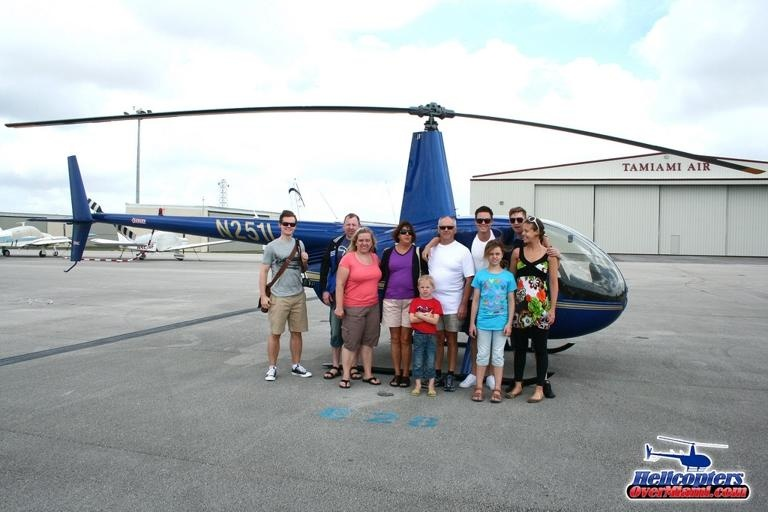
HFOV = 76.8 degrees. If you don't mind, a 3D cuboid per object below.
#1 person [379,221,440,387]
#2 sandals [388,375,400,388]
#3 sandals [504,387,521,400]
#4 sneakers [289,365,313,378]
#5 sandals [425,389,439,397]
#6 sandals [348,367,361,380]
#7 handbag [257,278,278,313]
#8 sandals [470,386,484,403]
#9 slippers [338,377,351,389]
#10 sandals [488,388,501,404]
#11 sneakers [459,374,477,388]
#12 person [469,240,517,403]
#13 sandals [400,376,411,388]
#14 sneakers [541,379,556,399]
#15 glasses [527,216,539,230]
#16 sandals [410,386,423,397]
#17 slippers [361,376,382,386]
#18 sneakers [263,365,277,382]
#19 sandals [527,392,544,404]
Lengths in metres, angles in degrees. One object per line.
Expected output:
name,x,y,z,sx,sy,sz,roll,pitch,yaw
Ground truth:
person,0.217,0.560,5.780,0.756,1.952,0.634,0,-5,20
sandals,0.105,1.526,5.882,0.102,0.096,0.240,-1,-12,8
sandals,1.462,1.564,5.488,0.091,0.075,0.219,12,-3,-2
sneakers,-1.078,1.470,6.197,0.326,0.130,0.121,2,4,33
sandals,0.536,1.553,5.535,0.105,0.072,0.167,1,8,6
sandals,-0.390,1.477,6.053,0.212,0.082,0.607,0,-3,-5
handbag,-1.465,0.528,5.973,0.136,0.488,0.304,18,2,-14
sandals,1.034,1.566,5.441,0.132,0.094,0.365,-1,-5,6
slippers,-0.487,1.520,5.789,0.126,0.064,0.227,1,-5,-5
sandals,1.217,1.558,5.365,0.124,0.086,0.332,-3,-6,8
sneakers,0.994,1.502,5.767,0.095,0.107,0.268,1,-2,38
person,1.199,0.723,5.424,0.492,1.773,0.522,2,9,9
sandals,0.233,1.518,5.813,0.100,0.107,0.284,1,-8,2
sneakers,1.848,1.525,5.491,0.096,0.114,0.302,-5,-9,5
glasses,1.666,-0.376,5.377,0.055,0.157,0.146,-15,10,-22
sandals,0.361,1.549,5.594,0.123,0.074,0.170,1,8,3
slippers,-0.159,1.529,5.903,0.166,0.047,0.095,-1,-1,44
sneakers,-1.439,1.480,6.052,0.136,0.134,0.351,1,-10,-4
sandals,1.651,1.568,5.356,0.078,0.083,0.230,-9,-12,31
